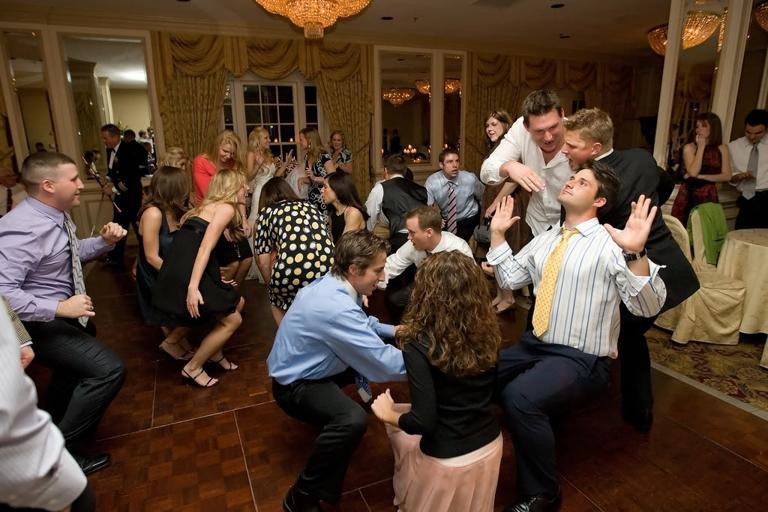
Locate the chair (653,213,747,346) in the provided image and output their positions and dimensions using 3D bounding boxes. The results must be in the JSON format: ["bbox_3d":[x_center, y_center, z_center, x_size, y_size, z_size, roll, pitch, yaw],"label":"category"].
[{"bbox_3d":[2.888,0.200,4.449,0.724,1.048,0.710,-16,19,-24],"label":"chair"}]

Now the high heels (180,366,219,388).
[{"bbox_3d":[-1.480,0.962,3.929,0.241,0.107,0.145,10,7,3],"label":"high heels"}]

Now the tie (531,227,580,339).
[{"bbox_3d":[1.042,0.163,3.026,0.288,0.655,0.152,-13,19,-35],"label":"tie"}]

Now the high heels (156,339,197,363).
[{"bbox_3d":[-1.786,0.812,4.220,0.264,0.126,0.162,14,21,-3],"label":"high heels"}]
